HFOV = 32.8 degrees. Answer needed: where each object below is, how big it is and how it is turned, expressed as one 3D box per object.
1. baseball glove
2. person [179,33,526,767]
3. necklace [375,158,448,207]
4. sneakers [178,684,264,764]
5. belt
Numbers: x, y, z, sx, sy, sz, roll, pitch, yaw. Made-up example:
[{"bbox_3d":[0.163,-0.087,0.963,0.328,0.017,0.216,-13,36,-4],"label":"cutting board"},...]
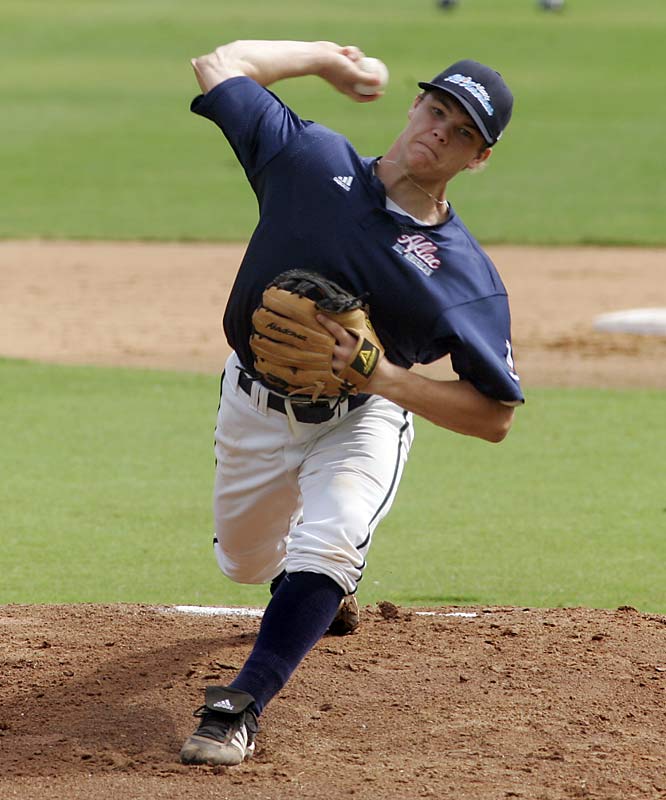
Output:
[{"bbox_3d":[-0.057,-0.167,2.966,0.383,0.309,0.144,51,13,4],"label":"baseball glove"},{"bbox_3d":[0.061,-0.054,3.095,0.924,1.793,1.081,2,12,-7],"label":"person"},{"bbox_3d":[0.251,-0.595,3.146,0.138,0.043,0.175,31,-4,3],"label":"necklace"},{"bbox_3d":[-0.273,0.791,2.784,0.177,0.189,0.212,2,11,-2],"label":"sneakers"},{"bbox_3d":[-0.101,-0.032,3.227,0.253,0.052,0.176,16,-6,16],"label":"belt"}]
